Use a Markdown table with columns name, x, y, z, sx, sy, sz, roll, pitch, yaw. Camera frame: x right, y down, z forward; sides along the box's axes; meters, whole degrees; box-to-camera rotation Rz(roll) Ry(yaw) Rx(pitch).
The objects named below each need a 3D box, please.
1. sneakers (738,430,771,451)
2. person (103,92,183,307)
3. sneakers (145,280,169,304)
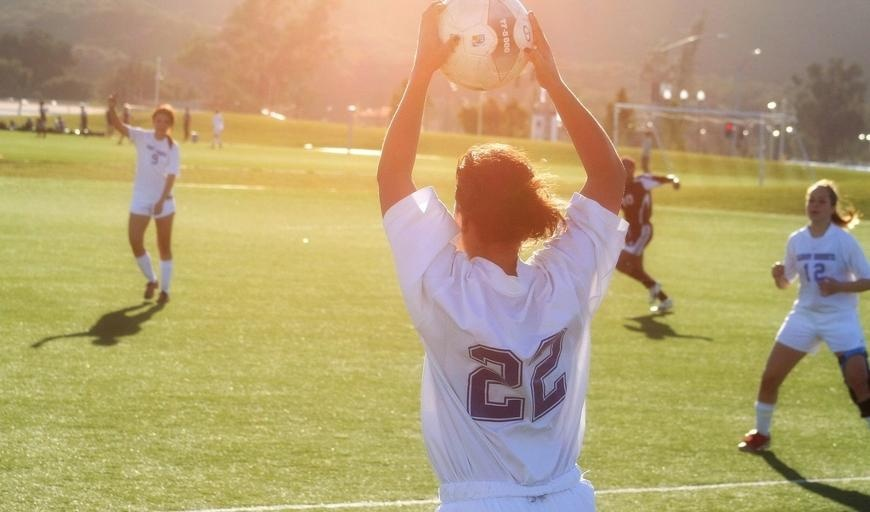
| name | x | y | z | sx | sy | sz | roll | pitch | yaw |
| --- | --- | --- | --- | --- | --- | --- | --- | --- | --- |
| sneakers | 4.102 | 2.380 | 13.628 | 0.393 | 0.244 | 0.216 | 4 | 2 | 3 |
| person | -4.422 | -0.828 | 16.589 | 0.798 | 3.016 | 1.238 | 0 | 6 | -17 |
| sneakers | -4.267 | 0.582 | 16.320 | 0.247 | 0.460 | 0.204 | -16 | 7 | -1 |
